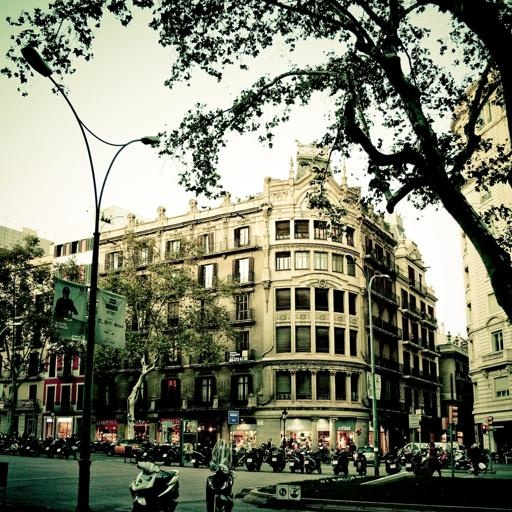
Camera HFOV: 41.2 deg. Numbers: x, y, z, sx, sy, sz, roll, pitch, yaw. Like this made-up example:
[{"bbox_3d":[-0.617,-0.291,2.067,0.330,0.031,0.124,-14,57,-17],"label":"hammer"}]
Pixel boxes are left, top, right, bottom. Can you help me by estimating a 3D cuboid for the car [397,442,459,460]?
[{"bbox_3d":[11.086,12.195,43.166,3.471,1.844,2.513,-5,-13,18],"label":"car"}]
